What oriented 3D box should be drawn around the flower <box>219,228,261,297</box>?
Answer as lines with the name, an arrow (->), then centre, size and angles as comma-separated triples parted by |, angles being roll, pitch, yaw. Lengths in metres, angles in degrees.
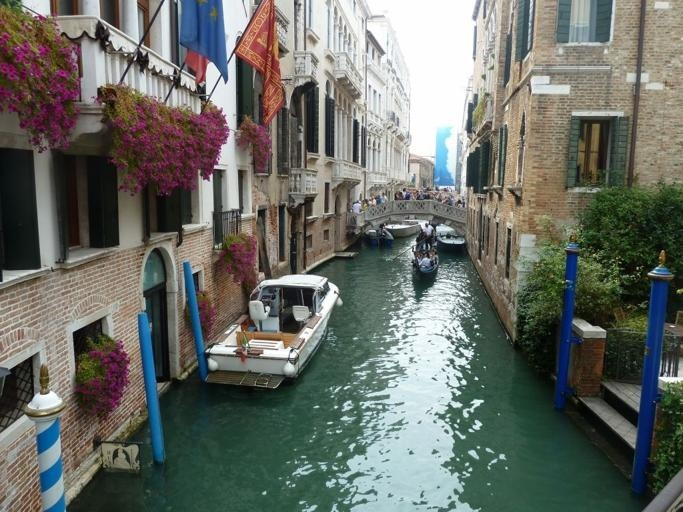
flower -> -2.774, 0.266, 16.226 | 0.626, 1.390, 1.073 | 0, 20, -2

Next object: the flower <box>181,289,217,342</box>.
flower -> -3.415, 1.487, 14.777 | 0.705, 1.093, 0.409 | -2, 26, -18

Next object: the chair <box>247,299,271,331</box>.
chair -> -2.164, 1.583, 15.483 | 0.468, 0.884, 0.536 | 6, 42, 4

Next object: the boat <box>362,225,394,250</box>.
boat -> 2.685, -1.407, 40.575 | 1.984, 1.256, 2.161 | -5, 14, -26

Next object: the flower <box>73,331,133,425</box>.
flower -> -4.331, 2.196, 10.534 | 0.524, 1.348, 0.993 | 6, 13, 26

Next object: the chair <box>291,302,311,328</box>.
chair -> -1.074, 1.574, 15.941 | 0.500, 0.614, 0.489 | 3, 25, 8

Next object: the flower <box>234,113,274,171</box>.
flower -> -2.582, -3.369, 17.614 | 0.628, 1.358, 1.137 | 2, 51, 10

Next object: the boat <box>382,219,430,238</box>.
boat -> 5.190, -2.183, 48.154 | 1.481, 1.290, 6.716 | 1, 6, 16
